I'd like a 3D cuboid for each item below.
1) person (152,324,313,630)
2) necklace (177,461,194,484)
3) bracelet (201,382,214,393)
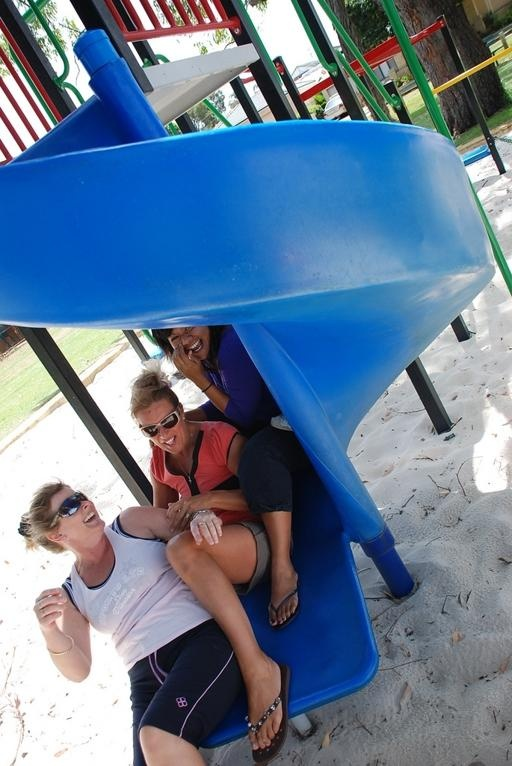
[{"bbox_3d":[-0.060,0.263,1.530,0.364,0.409,0.698,-77,1,-50],"label":"person"},{"bbox_3d":[-0.225,0.283,1.788,0.041,0.056,0.014,-7,2,5],"label":"necklace"},{"bbox_3d":[-0.164,0.015,1.868,0.032,0.009,0.034,-43,2,15],"label":"bracelet"}]
